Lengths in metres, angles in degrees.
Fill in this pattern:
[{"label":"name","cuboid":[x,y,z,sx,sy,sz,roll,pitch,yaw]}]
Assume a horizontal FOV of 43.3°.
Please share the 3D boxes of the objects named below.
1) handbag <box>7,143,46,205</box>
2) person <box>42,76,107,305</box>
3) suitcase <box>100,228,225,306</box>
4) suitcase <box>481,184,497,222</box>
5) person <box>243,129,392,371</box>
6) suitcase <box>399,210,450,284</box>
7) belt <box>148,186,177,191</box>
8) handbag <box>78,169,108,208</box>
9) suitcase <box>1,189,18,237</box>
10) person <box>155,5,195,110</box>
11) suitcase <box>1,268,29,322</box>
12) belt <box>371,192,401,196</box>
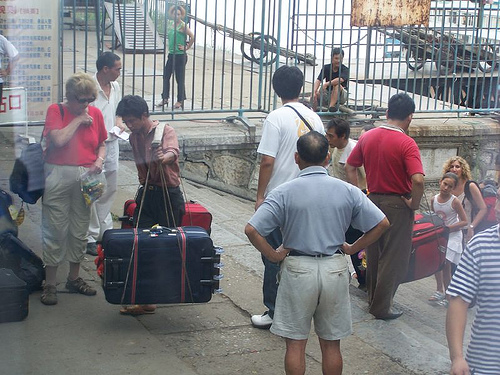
[{"label":"handbag","cuboid":[-2.180,-0.143,6.170,0.296,0.582,0.514,5,18,-33]},{"label":"person","cuboid":[-1.699,-0.003,6.109,0.649,2.125,0.472,-3,11,-24]},{"label":"suitcase","cuboid":[-0.858,0.694,5.829,1.044,0.715,0.629,1,8,-13]},{"label":"suitcase","cuboid":[2.833,0.191,7.520,0.181,0.396,0.375,4,10,15]},{"label":"person","cuboid":[0.476,0.489,4.791,1.033,1.764,0.443,2,10,1]},{"label":"suitcase","cuboid":[1.837,0.636,6.579,0.687,0.754,0.529,-5,0,-2]},{"label":"belt","cuboid":[-0.836,0.004,6.002,0.270,0.042,0.052,2,10,-4]},{"label":"handbag","cuboid":[-1.506,-0.024,6.137,0.288,0.321,0.108,-18,32,-24]},{"label":"suitcase","cuboid":[-2.341,0.241,6.043,0.110,0.400,0.237,-4,4,28]},{"label":"person","cuboid":[-1.188,-1.947,9.509,0.437,1.498,0.819,0,10,-10]},{"label":"suitcase","cuboid":[-2.116,0.978,5.648,0.223,0.394,0.202,-2,11,-23]},{"label":"belt","cuboid":[1.326,0.061,6.157,0.270,0.028,0.033,7,11,22]}]
